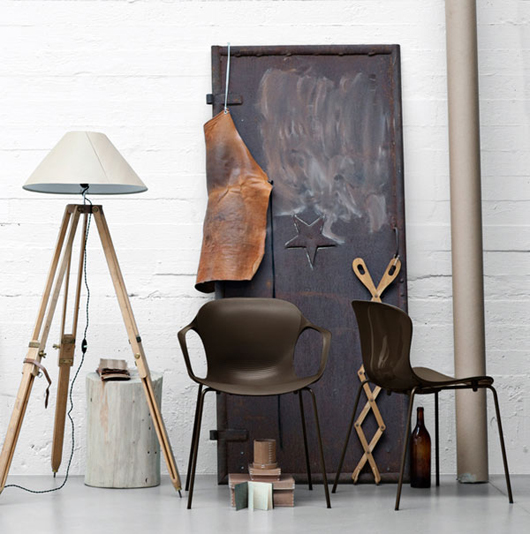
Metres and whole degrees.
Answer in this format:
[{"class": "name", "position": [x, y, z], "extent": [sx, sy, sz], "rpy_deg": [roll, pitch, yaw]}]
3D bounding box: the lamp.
[{"class": "lamp", "position": [-0.831, 0.219, 4.243], "extent": [0.826, 1.649, 0.866], "rpy_deg": [-2, -1, -7]}]

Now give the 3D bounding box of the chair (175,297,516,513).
[{"class": "chair", "position": [0.230, 0.595, 4.167], "extent": [1.248, 0.628, 0.959], "rpy_deg": [-2, -1, -7]}]
